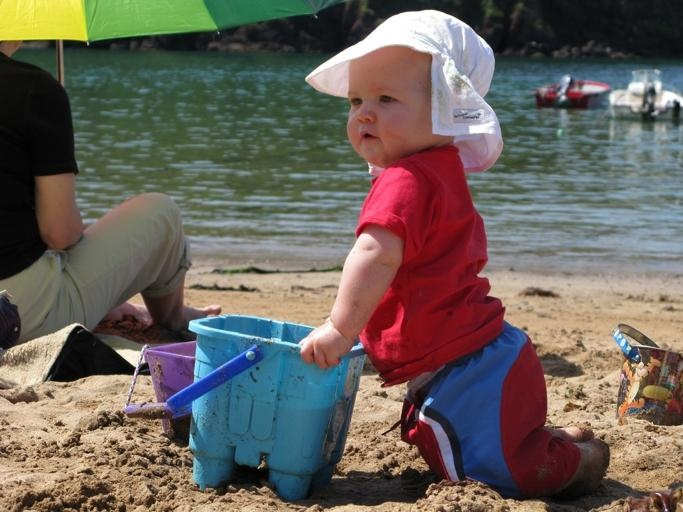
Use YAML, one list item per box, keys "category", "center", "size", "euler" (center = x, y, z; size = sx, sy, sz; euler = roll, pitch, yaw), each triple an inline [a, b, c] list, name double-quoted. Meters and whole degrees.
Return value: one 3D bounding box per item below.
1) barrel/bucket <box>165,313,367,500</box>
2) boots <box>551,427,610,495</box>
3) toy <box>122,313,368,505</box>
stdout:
- category: "barrel/bucket"
  center: [-0.498, 1.271, 11.982]
  size: [1.713, 1.388, 1.731]
  euler: [6, -11, 1]
- category: "boots"
  center: [1.862, 1.617, 11.613]
  size: [0.630, 0.496, 0.440]
  euler: [7, 15, 7]
- category: "toy"
  center: [-0.705, 1.183, 11.709]
  size: [1.526, 1.176, 1.565]
  euler: [2, -4, 25]
